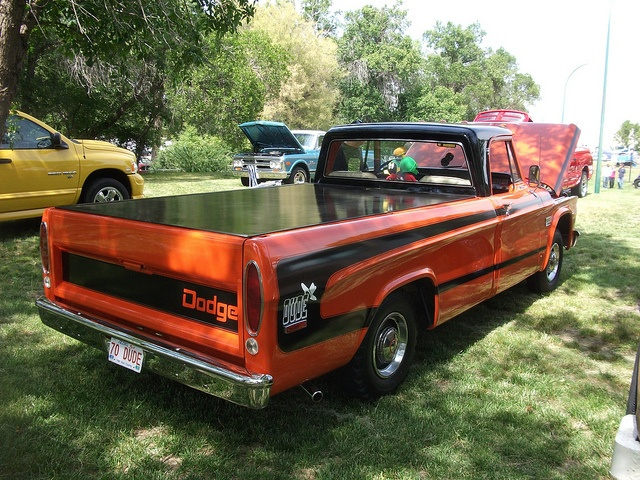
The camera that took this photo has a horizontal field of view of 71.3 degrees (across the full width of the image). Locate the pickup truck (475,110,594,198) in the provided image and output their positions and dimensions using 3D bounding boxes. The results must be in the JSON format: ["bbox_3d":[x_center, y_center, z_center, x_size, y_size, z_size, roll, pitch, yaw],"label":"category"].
[{"bbox_3d":[7.993,-2.431,16.747,2.927,2.414,5.516,-1,12,45],"label":"pickup truck"}]

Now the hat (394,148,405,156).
[{"bbox_3d":[0.979,-1.095,5.546,0.099,0.087,0.089,-9,17,46],"label":"hat"}]

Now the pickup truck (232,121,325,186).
[{"bbox_3d":[-1.306,-3.092,16.591,2.366,2.164,4.415,5,9,33],"label":"pickup truck"}]
